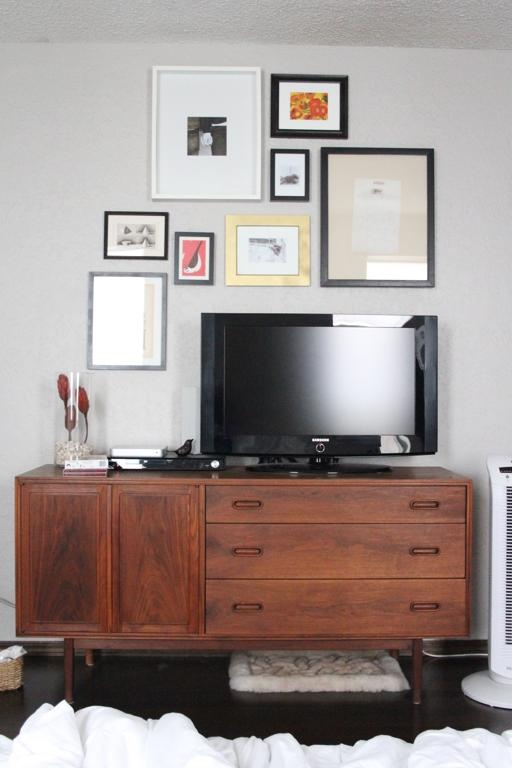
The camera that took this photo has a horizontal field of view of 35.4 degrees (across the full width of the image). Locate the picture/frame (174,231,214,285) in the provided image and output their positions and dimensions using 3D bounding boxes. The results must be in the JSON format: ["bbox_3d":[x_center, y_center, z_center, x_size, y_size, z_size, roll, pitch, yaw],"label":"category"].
[{"bbox_3d":[-0.245,-0.494,3.176,0.216,0.273,0.031,0,1,0],"label":"picture/frame"}]

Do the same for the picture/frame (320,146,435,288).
[{"bbox_3d":[0.472,-0.662,3.189,0.585,0.670,0.029,0,2,1],"label":"picture/frame"}]

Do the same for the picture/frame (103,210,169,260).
[{"bbox_3d":[-0.488,-0.591,3.174,0.206,0.158,0.009,0,-2,-5],"label":"picture/frame"}]

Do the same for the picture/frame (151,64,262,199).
[{"bbox_3d":[-0.216,-0.997,3.181,0.567,0.648,0.033,0,2,0],"label":"picture/frame"}]

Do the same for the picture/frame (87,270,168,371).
[{"bbox_3d":[-0.513,-0.251,3.177,0.340,0.393,0.014,-2,6,-35],"label":"picture/frame"}]

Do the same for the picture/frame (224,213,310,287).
[{"bbox_3d":[0.030,-0.522,3.179,0.300,0.239,0.022,0,2,-1],"label":"picture/frame"}]

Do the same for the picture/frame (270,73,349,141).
[{"bbox_3d":[0.209,-1.107,3.188,0.268,0.215,0.018,0,0,0],"label":"picture/frame"}]

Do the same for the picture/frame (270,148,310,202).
[{"bbox_3d":[0.134,-0.829,3.196,0.157,0.201,0.021,0,-1,-2],"label":"picture/frame"}]

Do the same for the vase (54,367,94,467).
[{"bbox_3d":[-0.690,0.130,3.010,0.131,0.343,0.270,-1,4,-12],"label":"vase"}]

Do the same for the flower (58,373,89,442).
[{"bbox_3d":[-0.689,0.108,3.055,0.122,0.326,0.068,2,26,-10],"label":"flower"}]

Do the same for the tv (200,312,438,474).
[{"bbox_3d":[0.216,0.022,2.993,0.614,0.409,0.177,0,0,-2],"label":"tv"}]
